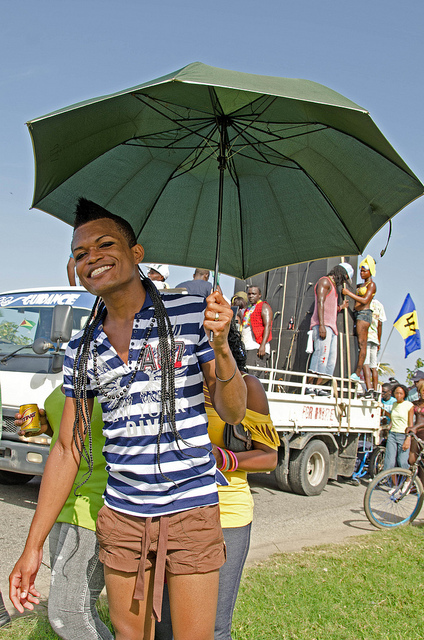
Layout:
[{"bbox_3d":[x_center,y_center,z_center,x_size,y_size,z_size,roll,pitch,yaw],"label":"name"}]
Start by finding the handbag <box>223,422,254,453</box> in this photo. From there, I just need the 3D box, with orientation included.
[{"bbox_3d":[0.119,0.532,2.167,0.147,0.124,0.072,5,-10,0],"label":"handbag"}]

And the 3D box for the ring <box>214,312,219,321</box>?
[{"bbox_3d":[0.012,-0.008,1.321,0.011,0.025,0.008,5,-11,3],"label":"ring"}]

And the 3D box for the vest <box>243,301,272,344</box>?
[{"bbox_3d":[0.821,0.076,8.643,0.539,0.644,0.322,-1,7,20],"label":"vest"}]

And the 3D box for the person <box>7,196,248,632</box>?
[{"bbox_3d":[-0.269,0.286,1.596,0.660,1.423,0.327,-1,-12,31],"label":"person"}]

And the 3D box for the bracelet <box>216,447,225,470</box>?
[{"bbox_3d":[0.037,0.573,1.974,0.028,0.083,0.024,3,-11,17],"label":"bracelet"}]

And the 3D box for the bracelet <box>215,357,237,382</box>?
[{"bbox_3d":[0.041,0.154,1.461,0.058,0.077,0.149,5,-10,3],"label":"bracelet"}]

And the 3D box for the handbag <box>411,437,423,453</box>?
[{"bbox_3d":[3.366,2.089,7.983,0.116,0.375,0.203,8,39,32],"label":"handbag"}]

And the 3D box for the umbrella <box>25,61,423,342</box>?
[{"bbox_3d":[0.036,-0.729,2.375,1.302,0.765,1.259,19,-24,-18],"label":"umbrella"}]
